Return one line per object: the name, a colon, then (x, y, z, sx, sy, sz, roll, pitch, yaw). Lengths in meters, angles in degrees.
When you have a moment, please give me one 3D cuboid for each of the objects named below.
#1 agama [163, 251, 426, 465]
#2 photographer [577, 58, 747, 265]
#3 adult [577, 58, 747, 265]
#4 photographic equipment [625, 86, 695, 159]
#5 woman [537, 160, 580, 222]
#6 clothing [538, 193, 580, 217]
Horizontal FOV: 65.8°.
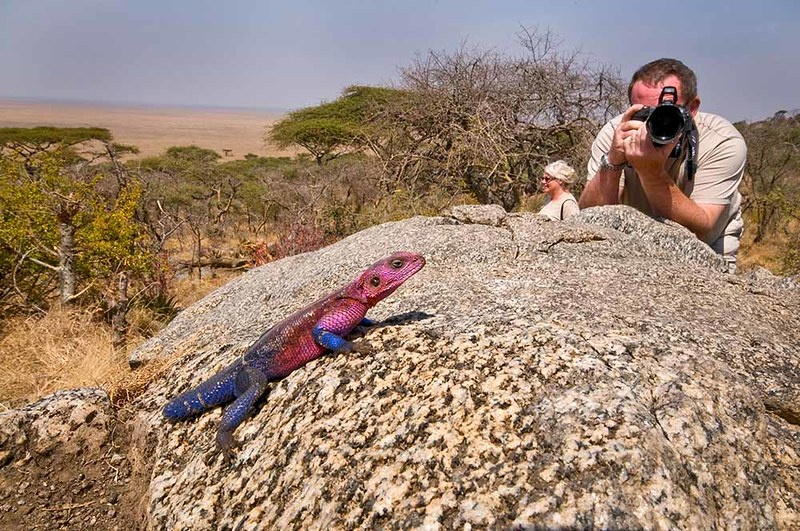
agama: (-0.883, 0.653, 5.258, 2.210, 1.342, 0.506, -6, 21, -13)
photographer: (3.076, -1.065, 6.948, 1.547, 2.336, 1.249, -4, 21, -6)
adult: (2.877, -1.029, 6.866, 1.787, 2.336, 1.277, 10, 24, 28)
photographic equipment: (2.740, -1.435, 6.355, 0.592, 0.679, 0.345, 0, -3, 3)
woman: (2.168, -0.991, 8.468, 0.476, 0.874, 0.850, -2, 12, -15)
clothing: (2.136, -0.783, 8.212, 0.428, 0.249, 0.583, 3, 21, 10)
